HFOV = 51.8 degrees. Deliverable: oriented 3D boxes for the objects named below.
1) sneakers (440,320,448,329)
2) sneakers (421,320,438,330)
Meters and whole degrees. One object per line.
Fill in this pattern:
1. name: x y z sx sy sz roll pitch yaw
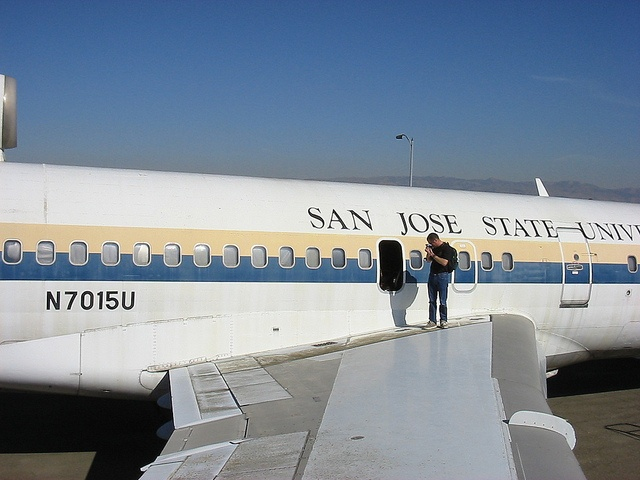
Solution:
1. sneakers: 2.626 1.809 14.122 0.154 0.075 0.212 2 5 7
2. sneakers: 2.362 1.867 14.347 0.126 0.141 0.379 -10 -12 34
